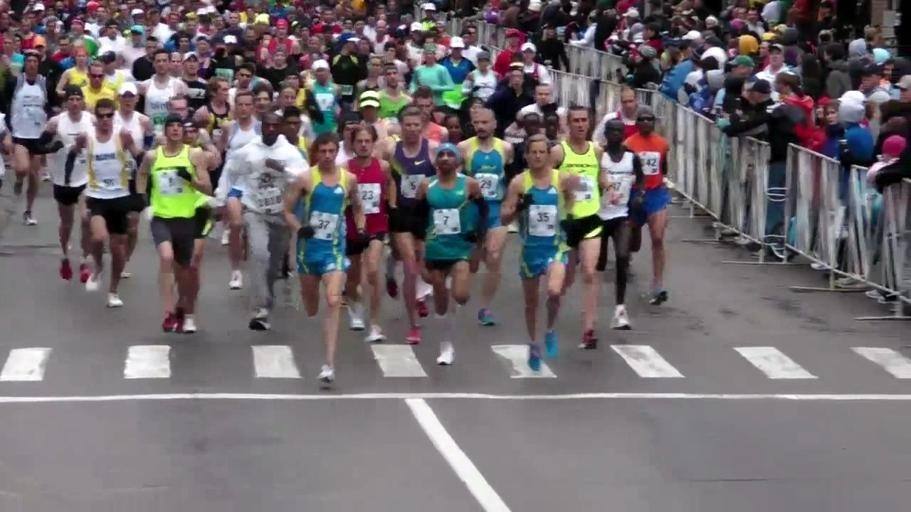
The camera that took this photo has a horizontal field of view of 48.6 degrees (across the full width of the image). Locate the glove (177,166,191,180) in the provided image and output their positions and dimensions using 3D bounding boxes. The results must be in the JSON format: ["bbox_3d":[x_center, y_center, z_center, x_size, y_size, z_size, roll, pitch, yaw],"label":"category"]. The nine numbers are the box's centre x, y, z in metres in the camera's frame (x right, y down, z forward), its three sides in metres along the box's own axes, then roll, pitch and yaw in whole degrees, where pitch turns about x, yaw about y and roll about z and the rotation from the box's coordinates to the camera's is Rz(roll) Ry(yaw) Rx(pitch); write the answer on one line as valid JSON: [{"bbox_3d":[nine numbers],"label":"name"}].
[{"bbox_3d":[-3.759,-1.133,13.941,0.186,0.064,0.134,40,-18,-35],"label":"glove"}]

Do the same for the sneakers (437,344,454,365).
[{"bbox_3d":[-0.148,1.288,13.319,0.296,0.281,0.196,-2,6,-14],"label":"sneakers"}]

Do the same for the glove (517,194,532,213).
[{"bbox_3d":[0.884,-0.676,12.921,0.179,0.232,0.111,2,14,5],"label":"glove"}]

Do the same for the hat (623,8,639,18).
[{"bbox_3d":[4.667,-6.405,26.797,0.336,0.197,0.421,-5,20,-15],"label":"hat"}]

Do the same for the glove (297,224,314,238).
[{"bbox_3d":[-1.838,-0.305,12.372,0.154,0.108,0.152,-3,23,-8],"label":"glove"}]

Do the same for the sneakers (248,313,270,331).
[{"bbox_3d":[-2.772,0.941,14.274,0.227,0.182,0.277,-1,-6,29],"label":"sneakers"}]

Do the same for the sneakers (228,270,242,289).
[{"bbox_3d":[-3.555,0.411,16.344,0.204,0.232,0.351,1,-4,-3],"label":"sneakers"}]

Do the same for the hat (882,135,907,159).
[{"bbox_3d":[6.514,-1.607,14.995,0.363,0.317,0.261,2,16,-5],"label":"hat"}]

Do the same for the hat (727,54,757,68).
[{"bbox_3d":[5.689,-3.847,20.002,0.511,0.176,0.325,4,10,12],"label":"hat"}]

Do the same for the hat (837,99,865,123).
[{"bbox_3d":[6.281,-2.276,16.091,0.328,0.366,0.419,-4,-9,3],"label":"hat"}]

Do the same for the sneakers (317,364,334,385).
[{"bbox_3d":[-1.597,1.454,12.428,0.221,0.231,0.103,6,-2,-11],"label":"sneakers"}]
